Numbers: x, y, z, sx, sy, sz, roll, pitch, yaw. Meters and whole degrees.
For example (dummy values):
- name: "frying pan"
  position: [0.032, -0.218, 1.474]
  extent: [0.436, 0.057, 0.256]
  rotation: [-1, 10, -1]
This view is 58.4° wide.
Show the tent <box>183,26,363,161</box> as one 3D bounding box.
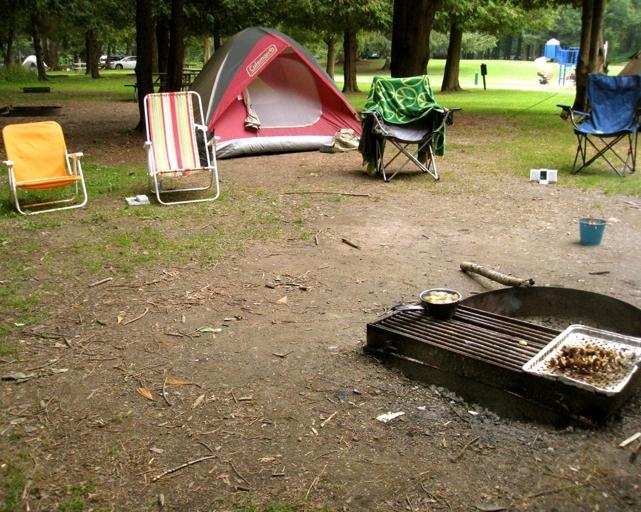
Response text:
- name: "tent"
  position: [-1.314, -2.749, 10.374]
  extent: [2.922, 1.514, 2.700]
  rotation: [-9, 19, -25]

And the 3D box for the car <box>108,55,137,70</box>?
- name: "car"
  position: [-17.897, -17.135, 51.589]
  extent: [1.948, 1.377, 5.837]
  rotation: [-8, 16, -20]

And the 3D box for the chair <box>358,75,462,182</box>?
- name: "chair"
  position: [1.149, -1.703, 7.749]
  extent: [1.414, 1.141, 0.964]
  rotation: [-2, 24, 0]

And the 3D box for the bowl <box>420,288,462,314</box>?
- name: "bowl"
  position: [0.794, 0.294, 3.745]
  extent: [0.221, 0.077, 0.192]
  rotation: [-3, 13, -12]
